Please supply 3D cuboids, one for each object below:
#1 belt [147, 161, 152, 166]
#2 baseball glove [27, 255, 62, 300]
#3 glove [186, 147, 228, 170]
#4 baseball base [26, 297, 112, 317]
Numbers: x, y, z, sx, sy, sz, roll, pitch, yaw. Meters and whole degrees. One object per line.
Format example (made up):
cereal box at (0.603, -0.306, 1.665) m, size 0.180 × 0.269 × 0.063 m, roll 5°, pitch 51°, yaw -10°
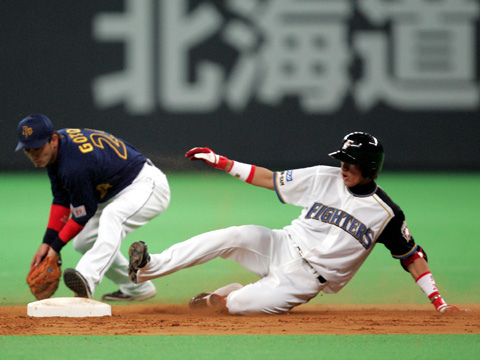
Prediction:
belt at (-0.996, -0.185, 8.176) m, size 0.057 × 0.050 × 0.057 m, roll 4°, pitch 10°, yaw 19°
baseball glove at (-2.058, 0.995, 7.924) m, size 0.351 × 0.463 × 0.412 m, roll -10°, pitch 7°, yaw -38°
glove at (-0.338, -0.244, 8.001) m, size 0.485 × 0.218 × 0.348 m, roll 3°, pitch 10°, yaw 15°
baseball base at (-1.726, 1.289, 7.416) m, size 0.714 × 0.109 × 0.570 m, roll -4°, pitch 5°, yaw -14°
